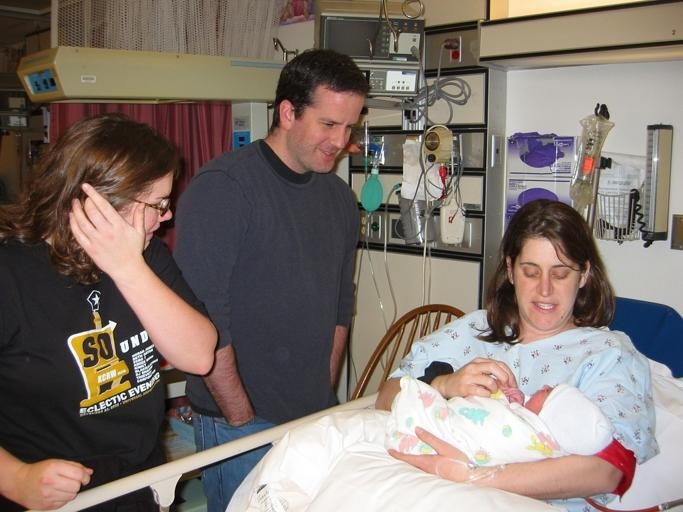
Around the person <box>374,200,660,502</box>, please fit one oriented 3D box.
[{"bbox_3d":[0.614,0.248,1.783,0.753,0.750,0.776,3,15,9],"label":"person"}]

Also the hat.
[{"bbox_3d":[0.632,0.451,1.529,0.217,0.148,0.069,58,15,25],"label":"hat"}]
